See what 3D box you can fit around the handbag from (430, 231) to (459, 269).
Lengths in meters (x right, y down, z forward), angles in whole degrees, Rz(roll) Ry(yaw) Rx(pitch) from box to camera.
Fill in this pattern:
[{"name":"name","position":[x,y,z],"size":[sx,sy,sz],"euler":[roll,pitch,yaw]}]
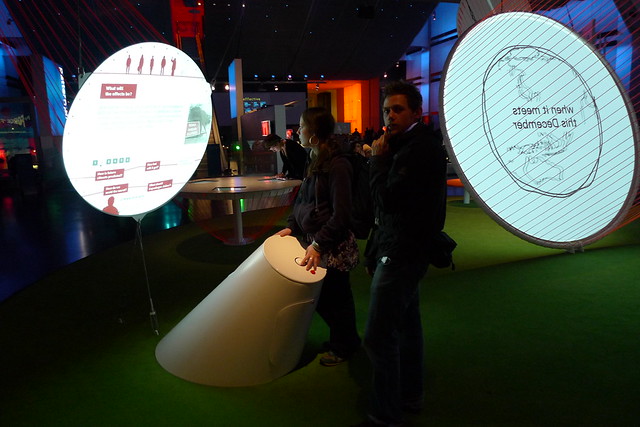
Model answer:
[{"name":"handbag","position":[0.707,0.211,2.445],"size":[0.144,0.198,0.142],"euler":[4,-3,-38]}]

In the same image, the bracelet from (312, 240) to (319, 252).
[{"name":"bracelet","position":[-0.022,0.201,2.729],"size":[0.056,0.044,0.058],"euler":[34,14,3]}]

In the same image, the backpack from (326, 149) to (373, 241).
[{"name":"backpack","position":[0.238,-0.133,2.716],"size":[0.175,0.531,0.368],"euler":[2,10,-19]}]

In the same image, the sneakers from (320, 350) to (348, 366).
[{"name":"sneakers","position":[0.098,1.047,3.065],"size":[0.137,0.055,0.103],"euler":[0,3,-6]}]
